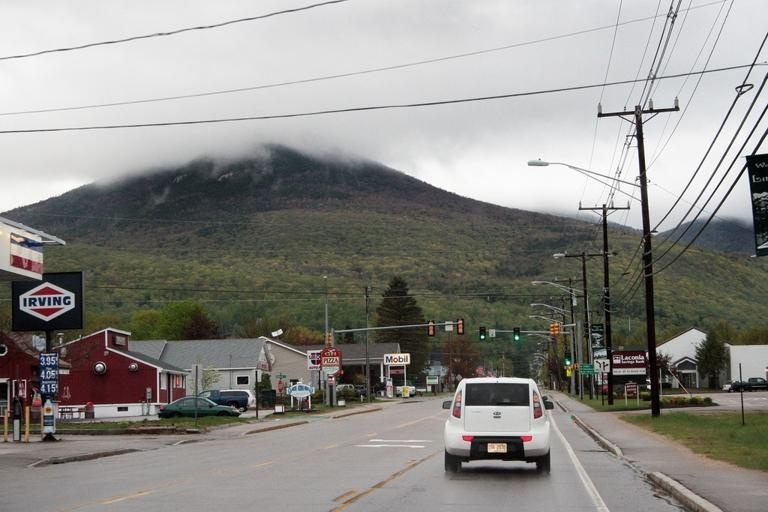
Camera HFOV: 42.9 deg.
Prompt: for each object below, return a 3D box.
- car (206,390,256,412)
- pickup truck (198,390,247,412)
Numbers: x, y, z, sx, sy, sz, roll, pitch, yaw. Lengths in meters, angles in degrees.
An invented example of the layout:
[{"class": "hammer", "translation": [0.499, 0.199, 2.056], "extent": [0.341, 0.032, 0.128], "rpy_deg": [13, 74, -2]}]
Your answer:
[{"class": "car", "translation": [-12.591, 11.785, 80.392], "extent": [3.203, 1.198, 1.653], "rpy_deg": [5, -6, -3]}, {"class": "pickup truck", "translation": [-12.666, 11.778, 80.170], "extent": [3.355, 1.311, 1.835], "rpy_deg": [5, -7, -4]}]
